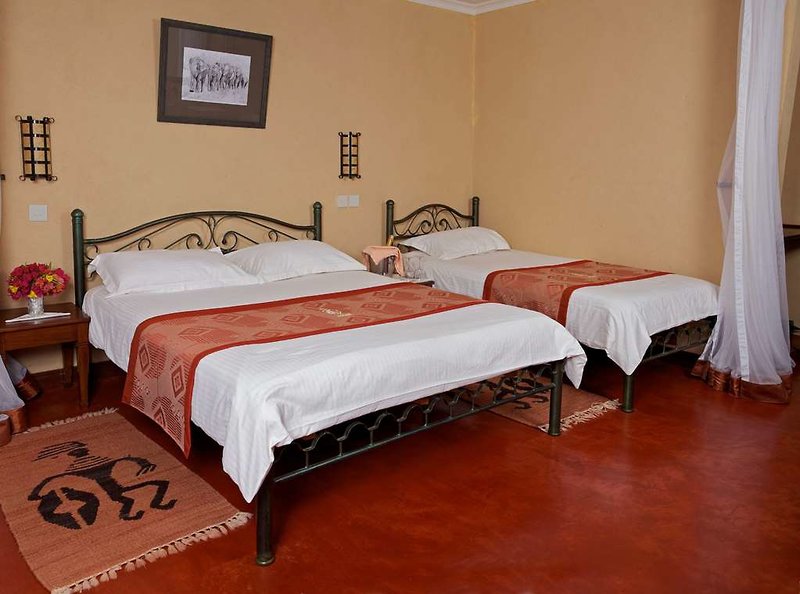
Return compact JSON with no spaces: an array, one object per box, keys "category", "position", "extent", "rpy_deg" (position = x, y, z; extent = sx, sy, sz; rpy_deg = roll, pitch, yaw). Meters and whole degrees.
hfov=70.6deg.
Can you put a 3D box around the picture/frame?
[{"category":"picture/frame","position":[-1.515,-1.799,4.516],"extent":[1.027,0.841,0.068],"rpy_deg":[-4,22,-37]}]

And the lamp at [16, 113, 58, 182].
[{"category":"lamp","position":[-2.569,-1.040,3.998],"extent":[0.268,0.453,0.069],"rpy_deg":[-11,18,-29]}]

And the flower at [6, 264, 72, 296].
[{"category":"flower","position":[-2.412,-0.111,3.778],"extent":[0.281,0.235,0.284],"rpy_deg":[11,11,29]}]

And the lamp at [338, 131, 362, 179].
[{"category":"lamp","position":[-0.481,-1.331,5.330],"extent":[0.107,0.386,0.302],"rpy_deg":[2,11,39]}]

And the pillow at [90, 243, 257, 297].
[{"category":"pillow","position":[-1.601,-0.170,4.026],"extent":[0.707,0.121,0.532],"rpy_deg":[-2,31,-40]}]

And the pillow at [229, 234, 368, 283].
[{"category":"pillow","position":[-0.817,-0.286,4.485],"extent":[0.587,0.142,0.530],"rpy_deg":[-7,20,-37]}]

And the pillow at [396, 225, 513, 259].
[{"category":"pillow","position":[0.639,-0.518,5.456],"extent":[0.694,0.140,0.457],"rpy_deg":[-4,21,-28]}]

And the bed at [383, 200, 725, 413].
[{"category":"bed","position":[1.067,-0.029,4.966],"extent":[1.593,1.380,2.596],"rpy_deg":[-10,16,-37]}]
